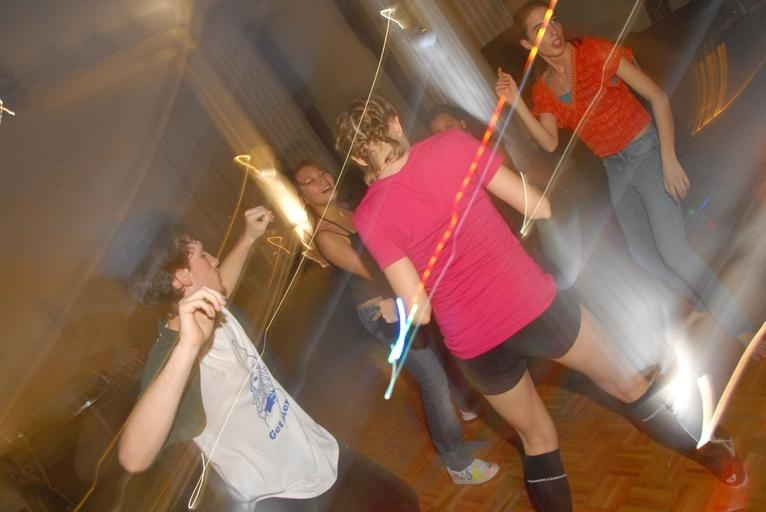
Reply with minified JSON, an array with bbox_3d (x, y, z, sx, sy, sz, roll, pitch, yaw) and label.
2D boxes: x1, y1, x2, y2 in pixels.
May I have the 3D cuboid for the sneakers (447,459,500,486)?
[{"bbox_3d":[0.693,1.624,3.923,0.387,0.190,0.180,-11,25,6],"label":"sneakers"}]

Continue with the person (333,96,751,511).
[{"bbox_3d":[1.212,0.339,3.524,1.425,2.997,0.972,-34,15,13],"label":"person"}]
